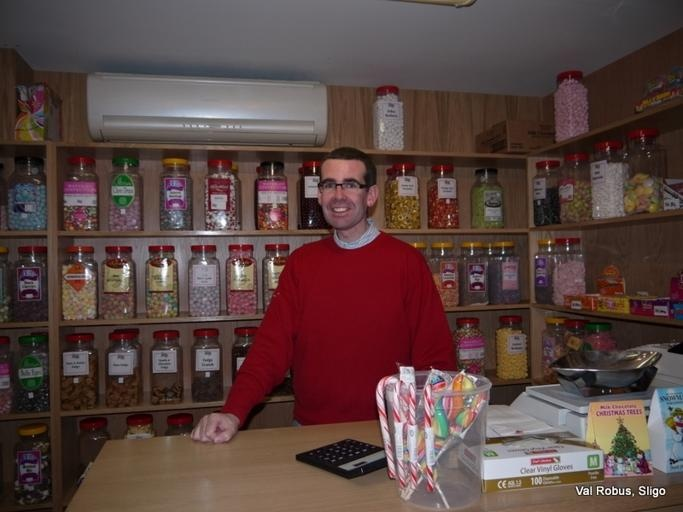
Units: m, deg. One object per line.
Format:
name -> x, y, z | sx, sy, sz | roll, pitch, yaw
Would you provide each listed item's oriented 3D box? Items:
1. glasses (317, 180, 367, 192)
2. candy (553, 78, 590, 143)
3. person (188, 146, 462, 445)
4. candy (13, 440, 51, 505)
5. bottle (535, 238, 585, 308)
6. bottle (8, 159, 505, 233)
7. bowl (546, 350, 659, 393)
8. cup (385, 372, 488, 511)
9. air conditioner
glasses -> 0.001, -0.322, 2.492 | 0.219, 0.049, 0.072 | -2, -2, 6
candy -> 1.360, -0.879, 3.335 | 0.216, 0.384, 0.146 | 0, 11, -16
person -> 0.000, 0.276, 2.421 | 1.056, 1.356, 0.934 | 4, 4, 3
candy -> -1.705, 1.190, 3.053 | 0.184, 0.325, 0.074 | -1, -3, -16
bottle -> 1.348, 0.089, 3.411 | 0.281, 0.426, 0.205 | 1, 5, -11
bottle -> -0.614, -0.349, 3.228 | 2.061, 0.370, 0.343 | 2, 4, -15
bowl -> 0.974, 0.380, 2.074 | 0.405, 0.144, 0.297 | 3, 6, 17
cup -> 0.283, 0.529, 1.672 | 0.338, 0.417, 0.208 | -2, -3, 2
air conditioner -> -0.764, -0.866, 3.251 | 1.349, 0.358, 0.121 | -1, -3, -11
